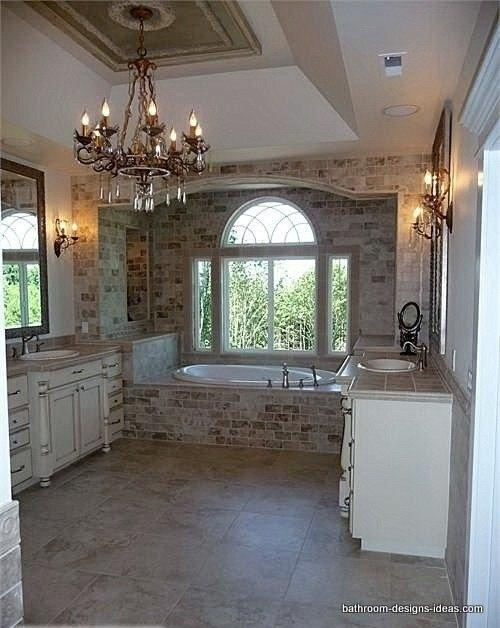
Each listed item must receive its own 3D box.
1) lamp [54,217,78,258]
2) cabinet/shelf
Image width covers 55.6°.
[{"bbox_3d":[-1.930,-0.798,5.042,0.188,0.412,0.360,-1,2,0],"label":"lamp"},{"bbox_3d":[-1.567,0.930,3.943,0.385,0.652,1.029,0,3,6],"label":"cabinet/shelf"}]
